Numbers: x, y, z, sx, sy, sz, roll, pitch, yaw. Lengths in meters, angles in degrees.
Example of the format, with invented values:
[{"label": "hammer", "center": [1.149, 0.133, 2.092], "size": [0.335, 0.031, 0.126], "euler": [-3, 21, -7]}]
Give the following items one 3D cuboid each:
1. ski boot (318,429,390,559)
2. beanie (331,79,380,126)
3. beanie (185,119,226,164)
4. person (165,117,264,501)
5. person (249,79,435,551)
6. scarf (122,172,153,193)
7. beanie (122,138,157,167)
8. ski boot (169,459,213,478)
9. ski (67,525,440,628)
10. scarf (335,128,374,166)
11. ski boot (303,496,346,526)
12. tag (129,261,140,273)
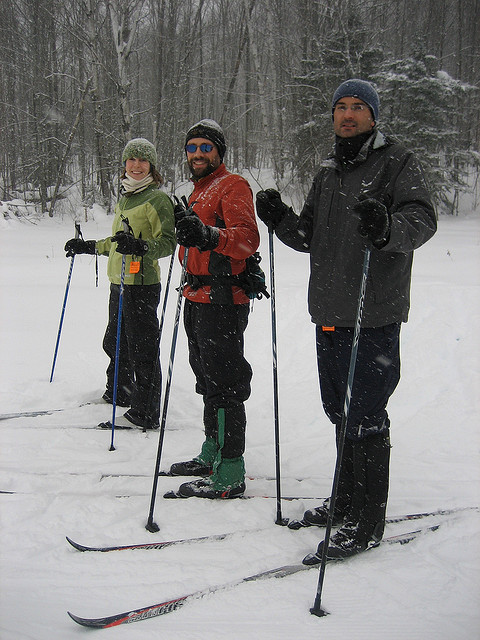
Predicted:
[{"label": "ski boot", "center": [0.506, 0.776, 2.956], "size": [0.371, 0.563, 0.144], "euler": [0, 7, -29]}, {"label": "beanie", "center": [0.521, -0.997, 2.988], "size": [0.182, 0.161, 0.198], "euler": [10, -1, 18]}, {"label": "beanie", "center": [-0.181, -0.961, 3.564], "size": [0.221, 0.228, 0.219], "euler": [1, 12, -4]}, {"label": "person", "center": [-0.136, -0.062, 3.615], "size": [0.521, 2.065, 1.157], "euler": [2, 12, 0]}, {"label": "person", "center": [0.471, -0.008, 2.981], "size": [0.685, 2.082, 0.858], "euler": [2, 12, 4]}, {"label": "scarf", "center": [-0.660, -0.901, 4.341], "size": [0.195, 0.127, 0.159], "euler": [3, 12, 3]}, {"label": "beanie", "center": [-0.664, -1.121, 4.426], "size": [0.218, 0.183, 0.245], "euler": [0, 12, -10]}, {"label": "ski boot", "center": [-0.274, 0.818, 3.753], "size": [0.213, 0.096, 0.091], "euler": [9, -11, 0]}, {"label": "ski", "center": [0.057, 1.065, 2.738], "size": [1.915, 0.101, 0.147], "euler": [-6, -9, -19]}, {"label": "scarf", "center": [0.513, -0.773, 2.969], "size": [0.129, 0.118, 0.160], "euler": [-6, 29, 26]}, {"label": "ski boot", "center": [0.393, 0.924, 3.220], "size": [0.265, 0.114, 0.094], "euler": [3, 2, -4]}, {"label": "tag", "center": [-0.663, -0.343, 4.228], "size": [0.077, 0.089, 0.013], "euler": [1, -11, 22]}]
